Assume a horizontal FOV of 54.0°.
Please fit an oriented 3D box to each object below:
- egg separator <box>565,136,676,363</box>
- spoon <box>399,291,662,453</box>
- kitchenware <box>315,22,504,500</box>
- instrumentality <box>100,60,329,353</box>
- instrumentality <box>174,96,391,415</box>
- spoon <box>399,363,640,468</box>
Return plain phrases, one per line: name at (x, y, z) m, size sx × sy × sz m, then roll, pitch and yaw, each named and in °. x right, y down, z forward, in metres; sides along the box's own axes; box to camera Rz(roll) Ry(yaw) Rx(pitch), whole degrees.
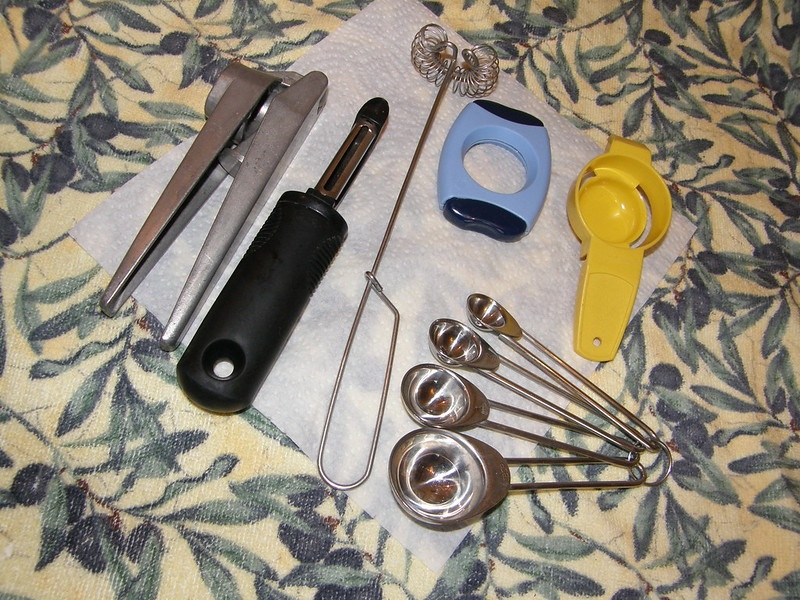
egg separator at (0.289, -0.068, 1.058) m, size 0.129 × 0.315 × 0.077 m, roll 12°, pitch -7°, yaw 6°
spoon at (0.185, 0.145, 1.052) m, size 0.416 × 0.141 × 0.045 m, roll 42°, pitch -27°, yaw -5°
kitchenware at (0.022, -0.121, 1.073) m, size 0.163 × 0.761 × 0.101 m, roll 14°, pitch -11°, yaw 16°
instrumentality at (-0.209, -0.158, 1.038) m, size 0.159 × 0.457 × 0.079 m, roll 25°, pitch -21°, yaw 9°
instrumentality at (-0.129, -0.065, 0.944) m, size 0.096 × 0.411 × 0.161 m, roll 20°, pitch -2°, yaw 14°
spoon at (0.130, 0.167, 0.986) m, size 0.321 × 0.105 × 0.046 m, roll 19°, pitch -26°, yaw -11°
